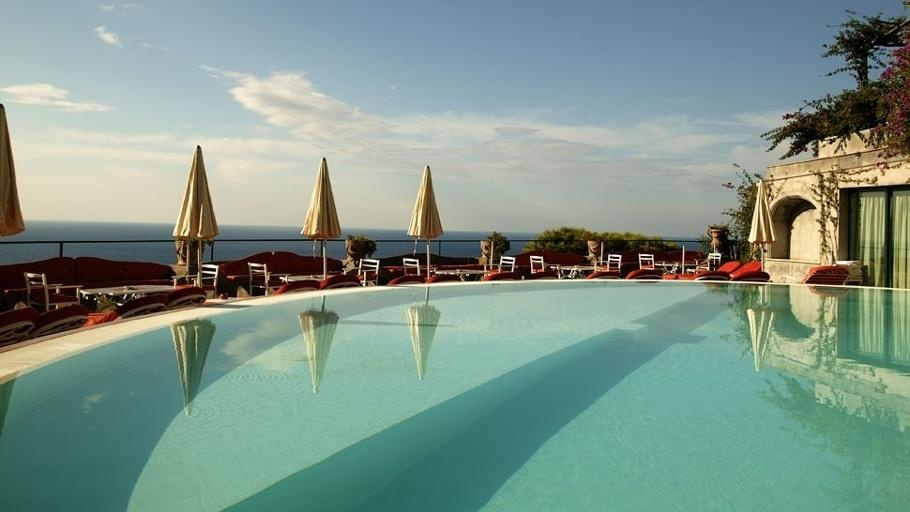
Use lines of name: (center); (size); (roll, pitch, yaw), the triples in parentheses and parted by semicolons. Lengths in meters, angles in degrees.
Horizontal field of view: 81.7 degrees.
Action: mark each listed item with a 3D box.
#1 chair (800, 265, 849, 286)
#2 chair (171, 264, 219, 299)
chair: (6.996, 0.370, 9.862); (0.546, 0.228, 0.540); (-2, -1, 24)
chair: (-5.085, 0.506, 10.389); (0.686, 0.755, 0.676); (-2, -5, 30)
